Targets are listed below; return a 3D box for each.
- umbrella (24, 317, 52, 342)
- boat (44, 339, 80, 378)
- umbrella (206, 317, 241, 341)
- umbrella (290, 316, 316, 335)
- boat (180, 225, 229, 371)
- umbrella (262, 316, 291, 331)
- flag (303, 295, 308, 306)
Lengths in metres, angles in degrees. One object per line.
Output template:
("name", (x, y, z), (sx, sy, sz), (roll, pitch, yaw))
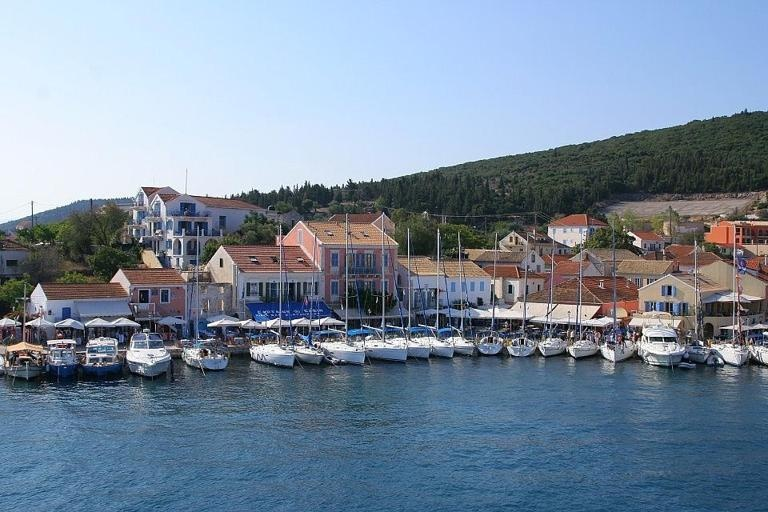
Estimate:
("umbrella", (-41.060, 8.651, 117.196), (3.195, 2.599, 3.130), (-1, -5, 12))
("boat", (-35.952, 11.556, 110.313), (3.670, 3.913, 11.118), (0, -3, -17))
("umbrella", (-19.762, 9.390, 122.857), (3.365, 2.339, 3.411), (2, 0, 28))
("umbrella", (-10.163, 8.559, 123.234), (2.341, 1.665, 2.298), (3, -7, -15))
("boat", (-21.372, 10.332, 116.295), (5.258, 12.999, 3.885), (2, -2, 19))
("umbrella", (-13.089, 8.297, 121.175), (2.416, 0.855, 2.466), (8, -13, -35))
("flag", (-10.159, 5.710, 129.433), (0.839, 1.318, 1.412), (-1, -4, 1))
